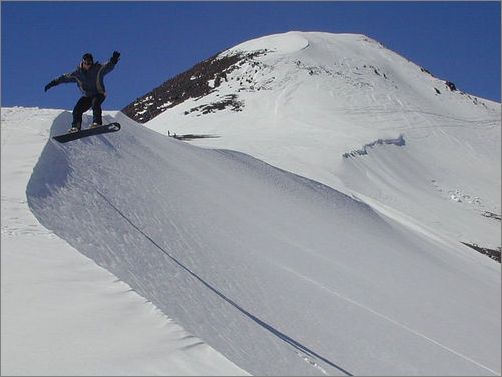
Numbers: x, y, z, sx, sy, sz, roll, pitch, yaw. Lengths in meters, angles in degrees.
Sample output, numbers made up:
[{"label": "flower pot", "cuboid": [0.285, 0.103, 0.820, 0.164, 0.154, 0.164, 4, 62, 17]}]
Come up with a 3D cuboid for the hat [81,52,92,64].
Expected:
[{"label": "hat", "cuboid": [-4.273, -3.382, 18.067, 0.249, 0.288, 0.500, -3, 15, -17]}]

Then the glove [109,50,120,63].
[{"label": "glove", "cuboid": [-3.509, -3.422, 18.086, 0.217, 0.313, 0.342, -9, 18, -34]}]

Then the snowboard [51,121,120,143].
[{"label": "snowboard", "cuboid": [-4.567, -1.564, 18.938, 2.274, 0.490, 0.273, -11, 23, -33]}]

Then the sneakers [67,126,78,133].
[{"label": "sneakers", "cuboid": [-4.810, -1.584, 18.677, 0.153, 0.150, 0.251, -16, -21, 34]}]

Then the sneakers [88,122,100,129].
[{"label": "sneakers", "cuboid": [-4.290, -1.725, 18.970, 0.133, 0.131, 0.345, 0, 5, 9]}]
